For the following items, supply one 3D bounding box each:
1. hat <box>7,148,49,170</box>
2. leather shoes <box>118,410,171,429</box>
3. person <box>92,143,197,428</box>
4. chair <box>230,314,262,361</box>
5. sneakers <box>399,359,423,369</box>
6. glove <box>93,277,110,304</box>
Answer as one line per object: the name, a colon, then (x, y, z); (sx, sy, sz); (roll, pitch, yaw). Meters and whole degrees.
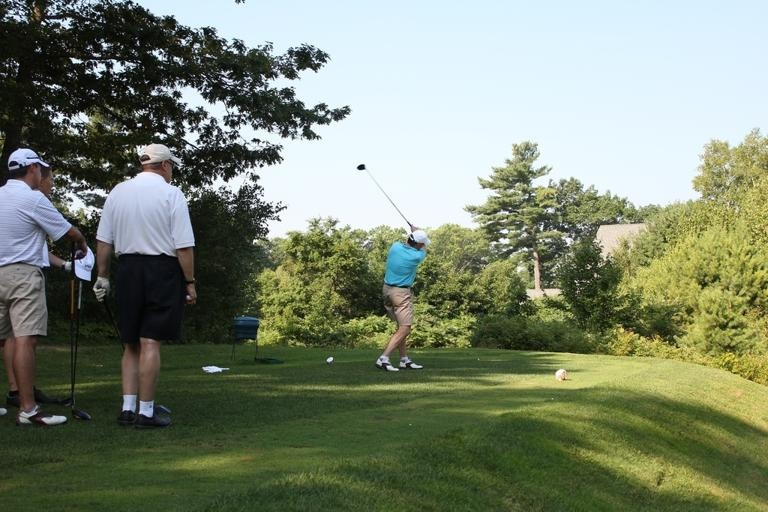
hat: (-5.162, -1.386, 10.988); (0.479, 0.266, 0.329); (-14, 13, -42)
leather shoes: (-3.244, 2.234, 10.318); (0.671, 0.251, 0.261); (-1, -3, 4)
person: (-3.247, 0.360, 10.610); (1.354, 3.850, 1.016); (9, 8, 42)
chair: (-2.658, 1.558, 15.520); (0.716, 0.949, 0.637); (5, 17, 24)
sneakers: (0.585, 2.186, 15.248); (0.532, 0.214, 0.173); (1, -1, 3)
glove: (-4.023, 0.500, 10.878); (0.274, 0.339, 0.166); (13, -10, -15)
